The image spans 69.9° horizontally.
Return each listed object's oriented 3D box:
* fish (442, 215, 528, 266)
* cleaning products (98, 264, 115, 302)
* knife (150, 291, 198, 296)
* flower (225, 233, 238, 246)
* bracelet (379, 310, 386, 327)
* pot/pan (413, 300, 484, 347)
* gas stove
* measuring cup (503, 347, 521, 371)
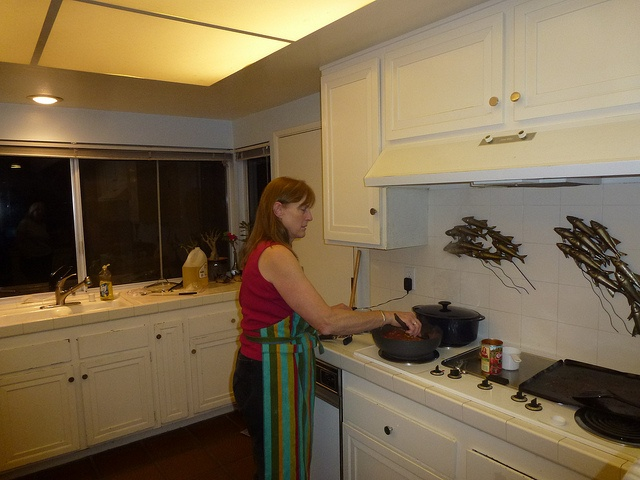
[{"bbox_3d":[0.904,-0.001,2.529,0.051,0.261,0.469,-6,7,-40],"label":"fish"},{"bbox_3d":[-1.747,0.335,3.722,0.101,0.270,0.299,-4,6,-26],"label":"cleaning products"},{"bbox_3d":[-1.201,0.436,3.739,0.380,0.015,0.094,-2,6,-1],"label":"knife"},{"bbox_3d":[-0.849,-0.017,4.374,0.115,0.114,0.118,3,37,13],"label":"flower"},{"bbox_3d":[0.315,0.396,2.313,0.021,0.057,0.041,2,-9,-7],"label":"bracelet"},{"bbox_3d":[0.734,0.446,2.526,0.268,0.178,0.313,1,-1,-25],"label":"pot/pan"},{"bbox_3d":[0.741,0.702,2.092,1.160,0.130,0.277,2,7,36],"label":"gas stove"},{"bbox_3d":[0.939,0.582,2.247,0.072,0.076,0.117,2,13,15],"label":"measuring cup"}]
